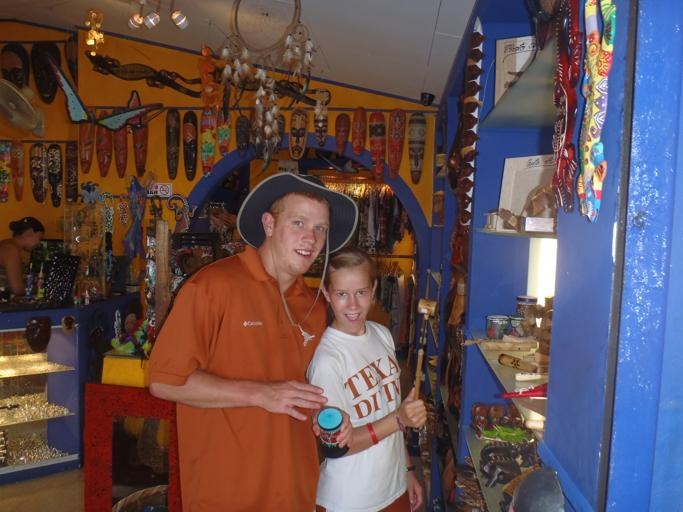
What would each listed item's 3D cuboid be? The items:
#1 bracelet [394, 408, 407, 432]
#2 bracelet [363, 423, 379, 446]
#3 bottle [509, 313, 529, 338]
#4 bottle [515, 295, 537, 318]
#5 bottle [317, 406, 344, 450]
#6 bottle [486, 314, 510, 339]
[{"bbox_3d":[0.225,0.634,2.287,0.029,0.082,0.056,-18,-18,36],"label":"bracelet"},{"bbox_3d":[0.117,0.679,2.266,0.031,0.080,0.049,1,0,44],"label":"bracelet"},{"bbox_3d":[0.734,0.296,2.459,0.070,0.084,0.073,1,-3,6],"label":"bottle"},{"bbox_3d":[0.767,0.207,2.448,0.078,0.093,0.078,1,0,-39],"label":"bottle"},{"bbox_3d":[-0.041,0.630,2.177,0.096,0.146,0.070,1,0,-2],"label":"bottle"},{"bbox_3d":[0.666,0.302,2.532,0.084,0.096,0.091,6,-4,-6],"label":"bottle"}]
